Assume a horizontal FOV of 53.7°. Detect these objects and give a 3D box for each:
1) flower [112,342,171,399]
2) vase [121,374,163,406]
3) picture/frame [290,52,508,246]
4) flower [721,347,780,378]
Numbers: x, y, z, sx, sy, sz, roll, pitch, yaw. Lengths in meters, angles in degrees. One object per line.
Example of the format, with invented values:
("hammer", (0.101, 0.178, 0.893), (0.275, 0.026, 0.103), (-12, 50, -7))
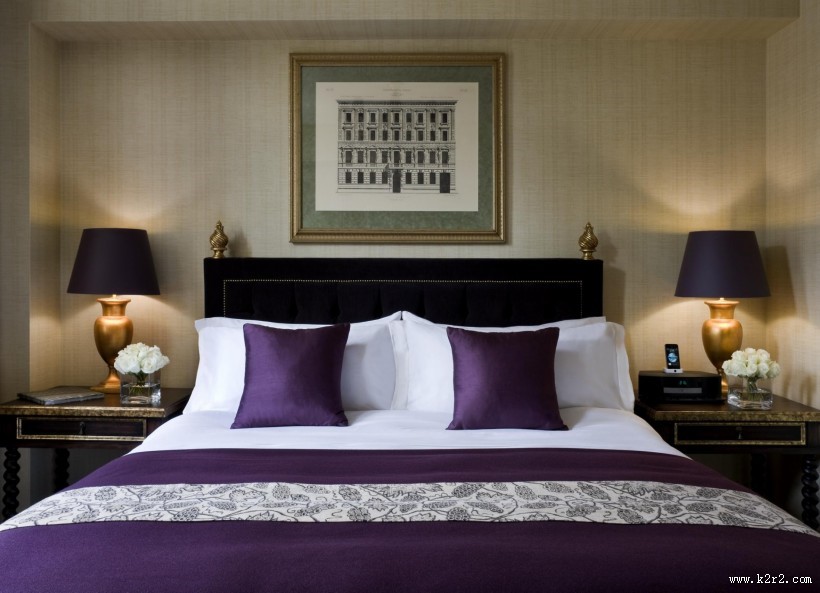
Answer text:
("flower", (-1.477, 0.413, 4.453), (0.301, 0.345, 0.298), (1, -6, -12))
("vase", (-1.477, 0.514, 4.466), (0.188, 0.186, 0.189), (0, 2, -9))
("picture/frame", (-0.028, -0.923, 4.828), (1.111, 0.988, 0.089), (0, -1, -1))
("flower", (1.873, 0.357, 4.433), (0.202, 0.144, 0.207), (-3, 0, 42))
